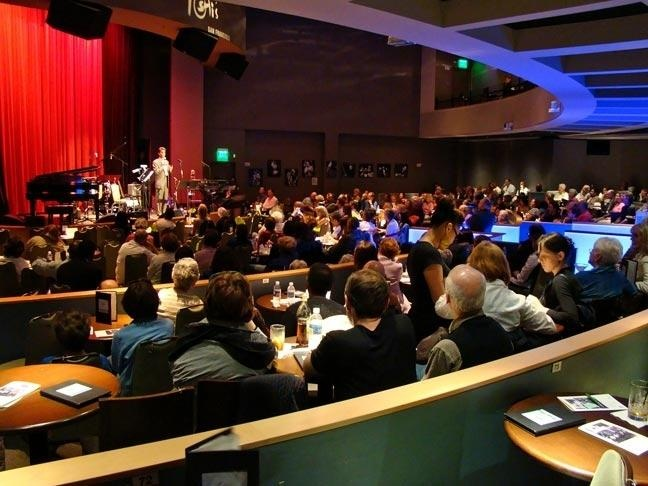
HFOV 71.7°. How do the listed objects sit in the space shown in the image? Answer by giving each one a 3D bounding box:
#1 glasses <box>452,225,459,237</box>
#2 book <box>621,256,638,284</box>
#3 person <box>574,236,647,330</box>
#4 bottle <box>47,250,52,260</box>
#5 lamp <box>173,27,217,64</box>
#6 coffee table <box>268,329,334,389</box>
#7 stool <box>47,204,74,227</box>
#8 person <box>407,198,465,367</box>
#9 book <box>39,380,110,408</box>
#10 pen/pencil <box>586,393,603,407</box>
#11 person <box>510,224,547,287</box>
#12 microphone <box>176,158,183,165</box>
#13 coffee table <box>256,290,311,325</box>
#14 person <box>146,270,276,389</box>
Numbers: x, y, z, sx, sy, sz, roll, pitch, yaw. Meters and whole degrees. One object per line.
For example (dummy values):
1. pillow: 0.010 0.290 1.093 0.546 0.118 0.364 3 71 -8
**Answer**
1. glasses: 1.195 -0.114 4.116 0.054 0.062 0.106 11 -32 5
2. book: 3.516 0.321 5.189 0.090 0.302 0.270 -9 8 -5
3. person: 2.707 0.369 4.347 0.695 0.847 0.246 -3 7 -19
4. bottle: -4.313 0.188 7.096 0.066 0.114 0.127 -3 8 -23
5. lamp: -2.372 -3.669 8.269 0.810 0.613 0.311 2 7 18
6. coffee table: -0.151 0.754 2.885 0.397 0.105 0.414 4 5 -8
7. stool: -6.512 -0.677 11.175 0.611 0.658 0.485 6 11 27
8. person: 1.022 0.655 4.225 0.521 2.094 0.669 -1 22 5
9. book: -1.545 0.947 2.821 0.393 0.053 0.228 4 8 26
10. pen/pencil: 1.535 0.893 2.543 0.021 0.014 0.076 11 16 -5
11. person: 3.167 0.211 7.055 0.360 1.227 0.370 -6 19 7
12. microphone: -5.262 -2.966 16.402 0.221 0.367 0.052 8 33 17
13. coffee table: -0.534 0.671 4.870 0.446 0.322 0.472 3 7 22
14. person: -0.617 0.714 2.769 0.542 1.028 0.514 6 7 -9
